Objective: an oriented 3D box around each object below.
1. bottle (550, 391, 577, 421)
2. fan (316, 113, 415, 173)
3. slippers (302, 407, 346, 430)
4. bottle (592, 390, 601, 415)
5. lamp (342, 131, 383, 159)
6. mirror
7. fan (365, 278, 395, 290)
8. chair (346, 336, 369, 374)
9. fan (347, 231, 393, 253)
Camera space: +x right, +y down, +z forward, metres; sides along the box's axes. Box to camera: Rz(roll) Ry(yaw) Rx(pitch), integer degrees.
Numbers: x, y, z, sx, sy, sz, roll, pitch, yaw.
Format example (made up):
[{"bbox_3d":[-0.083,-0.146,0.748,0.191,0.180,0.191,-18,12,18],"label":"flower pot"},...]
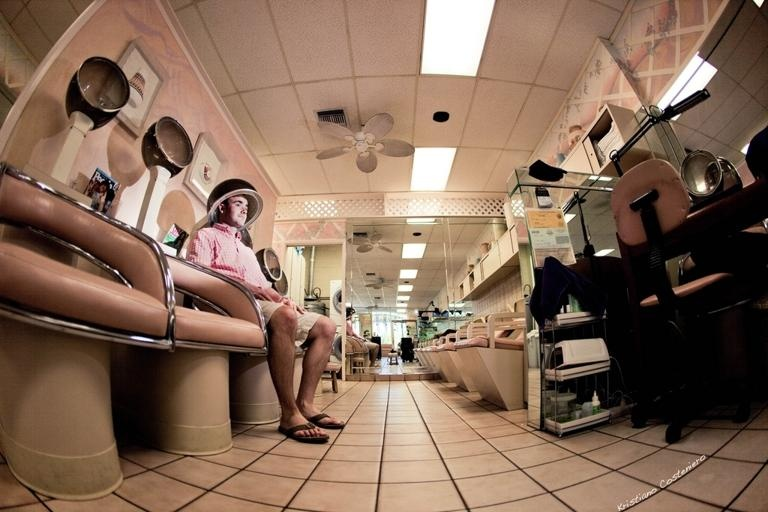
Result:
[{"bbox_3d":[1.216,1.006,2.921,0.170,0.192,0.176,-4,-7,26],"label":"bottle"},{"bbox_3d":[-0.232,-1.481,5.447,1.178,0.591,1.181,0,-2,19],"label":"fan"},{"bbox_3d":[-0.404,1.138,2.967,0.281,0.078,0.115,1,-20,6],"label":"slippers"},{"bbox_3d":[1.459,0.995,2.934,0.049,0.138,0.136,-1,-2,28],"label":"bottle"},{"bbox_3d":[-0.252,-1.424,5.417,0.307,0.113,0.311,-4,-1,36],"label":"lamp"},{"bbox_3d":[0.559,0.362,8.289,2.558,0.695,2.980,-2,-52,-16],"label":"mirror"},{"bbox_3d":[-0.082,0.603,9.355,0.377,0.099,0.342,5,-26,-29],"label":"fan"},{"bbox_3d":[-0.445,1.683,7.253,0.312,0.658,0.908,0,-2,3],"label":"chair"},{"bbox_3d":[-0.211,-0.231,7.808,0.369,0.383,1.092,-1,-2,32],"label":"fan"}]
